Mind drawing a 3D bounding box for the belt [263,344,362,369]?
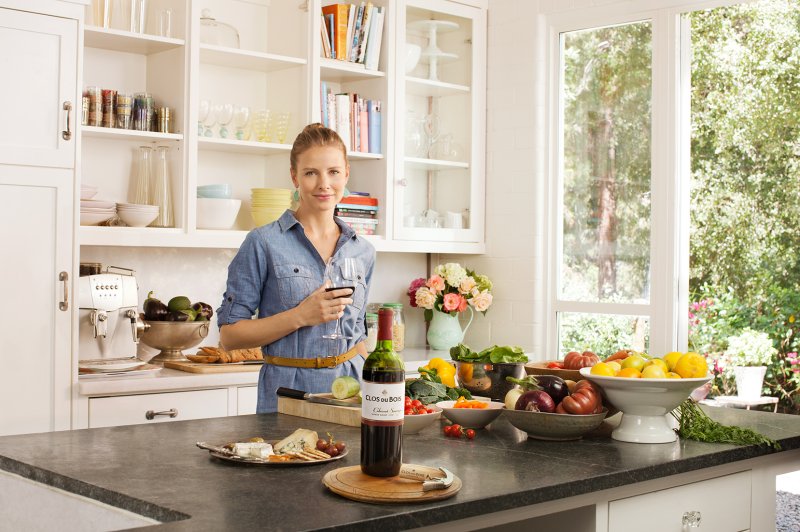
[{"bbox_3d":[-0.297,0.341,2.371,0.381,0.075,0.120,0,2,-19],"label":"belt"}]

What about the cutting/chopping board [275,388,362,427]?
[{"bbox_3d":[-0.252,0.443,2.046,0.370,0.094,0.128,1,2,32],"label":"cutting/chopping board"}]

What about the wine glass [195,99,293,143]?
[{"bbox_3d":[-0.912,-0.812,3.673,0.393,0.119,0.304,-2,5,-44],"label":"wine glass"}]

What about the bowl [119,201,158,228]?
[{"bbox_3d":[-1.357,-0.266,3.312,0.158,0.081,0.151,2,0,0],"label":"bowl"}]

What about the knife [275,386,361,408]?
[{"bbox_3d":[-0.291,0.415,2.040,0.417,0.027,0.088,0,-1,39],"label":"knife"}]

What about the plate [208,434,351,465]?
[{"bbox_3d":[-0.326,0.458,1.596,0.377,0.060,0.134,0,1,1],"label":"plate"}]

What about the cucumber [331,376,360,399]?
[{"bbox_3d":[-0.164,0.384,2.029,0.064,0.058,0.080,13,5,32],"label":"cucumber"}]

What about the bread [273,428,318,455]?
[{"bbox_3d":[-0.259,0.447,1.622,0.052,0.031,0.080,12,20,43],"label":"bread"}]

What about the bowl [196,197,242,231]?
[{"bbox_3d":[-0.999,-0.288,3.529,0.194,0.112,0.195,-2,-6,0],"label":"bowl"}]

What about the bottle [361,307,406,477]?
[{"bbox_3d":[-0.037,0.279,1.420,0.097,0.386,0.210,0,2,-3],"label":"bottle"}]

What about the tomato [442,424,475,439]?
[{"bbox_3d":[0.174,0.487,1.877,0.083,0.028,0.041,2,2,2],"label":"tomato"}]

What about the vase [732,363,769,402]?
[{"bbox_3d":[2.054,0.680,3.734,0.207,0.182,0.186,1,-4,0],"label":"vase"}]

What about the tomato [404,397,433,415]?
[{"bbox_3d":[0.055,0.411,1.882,0.046,0.027,0.080,7,1,4],"label":"tomato"}]

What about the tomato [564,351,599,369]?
[{"bbox_3d":[0.603,0.301,2.102,0.076,0.048,0.072,-8,-5,-25],"label":"tomato"}]

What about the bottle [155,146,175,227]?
[{"bbox_3d":[-1.293,-0.436,3.478,0.085,0.433,0.130,-1,2,-41],"label":"bottle"}]

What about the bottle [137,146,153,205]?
[{"bbox_3d":[-1.399,-0.496,3.498,0.076,0.316,0.191,0,2,-21],"label":"bottle"}]

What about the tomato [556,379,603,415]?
[{"bbox_3d":[0.509,0.373,1.853,0.111,0.095,0.102,-12,2,-2],"label":"tomato"}]

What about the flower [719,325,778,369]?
[{"bbox_3d":[2.058,0.472,3.742,0.247,0.216,0.109,13,4,23],"label":"flower"}]

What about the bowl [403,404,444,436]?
[{"bbox_3d":[0.070,0.446,1.860,0.102,0.033,0.100,-4,-5,0],"label":"bowl"}]

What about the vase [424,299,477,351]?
[{"bbox_3d":[0.365,0.428,4.409,0.331,0.281,0.219,-1,5,5],"label":"vase"}]

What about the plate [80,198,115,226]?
[{"bbox_3d":[-1.516,-0.269,3.209,0.160,0.126,0.083,0,2,-21],"label":"plate"}]

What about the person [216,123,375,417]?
[{"bbox_3d":[-0.380,0.007,2.308,0.573,1.080,0.767,0,2,-3],"label":"person"}]

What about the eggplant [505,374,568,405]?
[{"bbox_3d":[0.411,0.368,1.908,0.166,0.075,0.081,4,-11,20],"label":"eggplant"}]

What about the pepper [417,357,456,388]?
[{"bbox_3d":[0.129,0.396,2.204,0.151,0.096,0.101,9,25,0],"label":"pepper"}]

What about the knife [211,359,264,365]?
[{"bbox_3d":[-0.852,0.508,3.383,0.169,0.032,0.093,0,-3,-17],"label":"knife"}]

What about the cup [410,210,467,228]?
[{"bbox_3d":[0.279,-0.313,4.380,0.289,0.101,0.160,1,-2,5],"label":"cup"}]

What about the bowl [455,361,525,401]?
[{"bbox_3d":[0.315,0.403,2.254,0.274,0.132,0.258,3,-4,0],"label":"bowl"}]

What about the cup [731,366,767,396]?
[{"bbox_3d":[2.038,0.684,3.790,0.190,0.165,0.170,2,-5,2],"label":"cup"}]

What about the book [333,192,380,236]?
[{"bbox_3d":[-0.287,-0.326,4.112,0.292,0.066,0.281,17,11,-34],"label":"book"}]

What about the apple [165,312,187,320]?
[{"bbox_3d":[-1.163,0.266,3.331,0.076,0.041,0.039,-2,31,-8],"label":"apple"}]

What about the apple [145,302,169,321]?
[{"bbox_3d":[-1.268,0.240,3.323,0.061,0.096,0.065,-39,-28,15],"label":"apple"}]

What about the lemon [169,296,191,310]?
[{"bbox_3d":[-1.159,0.195,3.386,0.095,0.063,0.066,0,9,7],"label":"lemon"}]

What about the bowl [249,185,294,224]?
[{"bbox_3d":[-0.747,-0.352,3.730,0.281,0.214,0.265,0,4,0],"label":"bowl"}]

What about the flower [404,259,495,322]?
[{"bbox_3d":[0.442,0.175,4.498,0.542,0.477,0.508,9,46,21],"label":"flower"}]

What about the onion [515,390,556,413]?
[{"bbox_3d":[0.393,0.399,1.811,0.078,0.069,0.074,-14,-21,7],"label":"onion"}]

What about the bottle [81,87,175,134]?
[{"bbox_3d":[-1.347,-0.814,3.356,0.539,0.190,0.173,0,2,-44],"label":"bottle"}]
